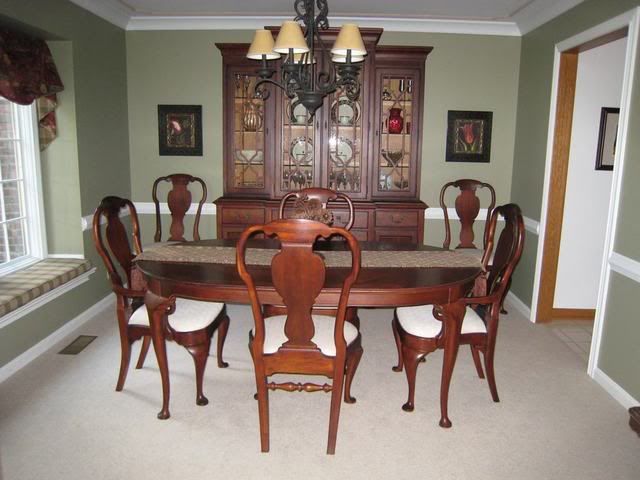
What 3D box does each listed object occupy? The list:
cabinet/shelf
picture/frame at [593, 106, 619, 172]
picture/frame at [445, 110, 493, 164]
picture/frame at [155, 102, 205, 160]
[{"bbox_3d":[0.043,-0.947,4.470,2.180,2.171,0.601,0,6,1],"label":"cabinet/shelf"},{"bbox_3d":[2.587,-0.906,4.397,0.152,0.555,0.146,7,15,27],"label":"picture/frame"},{"bbox_3d":[1.578,-1.113,5.137,0.518,0.582,0.039,0,7,-2],"label":"picture/frame"},{"bbox_3d":[-1.482,-1.184,5.181,0.537,0.611,0.038,0,9,-2],"label":"picture/frame"}]
